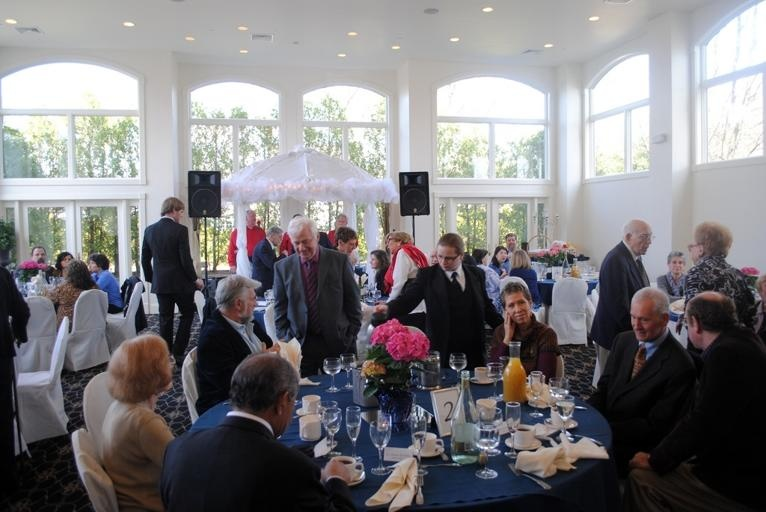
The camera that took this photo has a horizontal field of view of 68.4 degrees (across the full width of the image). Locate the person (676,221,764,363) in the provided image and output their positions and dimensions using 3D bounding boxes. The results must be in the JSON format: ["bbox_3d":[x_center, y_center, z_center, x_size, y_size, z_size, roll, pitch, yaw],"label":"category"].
[{"bbox_3d":[3.031,0.516,5.265,0.540,1.605,0.531,-2,7,-10],"label":"person"}]

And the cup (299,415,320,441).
[{"bbox_3d":[-0.495,1.195,3.919,0.112,0.126,0.161,2,5,18],"label":"cup"}]

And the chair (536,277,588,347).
[{"bbox_3d":[2.792,0.984,8.393,0.716,1.011,0.669,36,-33,-29],"label":"chair"}]

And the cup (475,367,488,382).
[{"bbox_3d":[0.773,0.932,4.441,0.093,0.079,0.099,-3,3,0],"label":"cup"}]

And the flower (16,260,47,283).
[{"bbox_3d":[-4.961,0.221,8.051,0.319,0.321,0.341,6,12,36],"label":"flower"}]

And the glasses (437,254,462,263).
[{"bbox_3d":[0.618,0.033,5.210,0.215,0.093,0.241,0,3,6],"label":"glasses"}]

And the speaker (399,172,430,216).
[{"bbox_3d":[0.652,-1.129,11.138,0.618,0.938,0.636,-4,-18,8],"label":"speaker"}]

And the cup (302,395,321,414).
[{"bbox_3d":[-0.518,1.073,4.081,0.104,0.104,0.143,0,-5,-1],"label":"cup"}]

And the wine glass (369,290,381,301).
[{"bbox_3d":[-0.104,0.556,7.779,0.111,0.150,0.140,-2,-3,-16],"label":"wine glass"}]

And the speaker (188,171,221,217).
[{"bbox_3d":[-3.199,-1.030,10.308,0.612,0.922,0.536,-2,-15,-13],"label":"speaker"}]

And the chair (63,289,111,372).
[{"bbox_3d":[-3.958,0.940,7.383,0.706,1.005,0.717,1,7,-28],"label":"chair"}]

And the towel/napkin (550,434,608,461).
[{"bbox_3d":[1.297,1.266,3.665,0.192,0.067,0.204,1,-3,-7],"label":"towel/napkin"}]

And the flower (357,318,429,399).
[{"bbox_3d":[0.099,0.661,4.086,0.436,0.560,0.522,7,3,17],"label":"flower"}]

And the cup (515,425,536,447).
[{"bbox_3d":[0.933,1.192,3.723,0.134,0.103,0.103,5,-7,-39],"label":"cup"}]

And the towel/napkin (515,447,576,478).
[{"bbox_3d":[1.030,1.301,3.570,0.213,0.082,0.216,-13,-13,42],"label":"towel/napkin"}]

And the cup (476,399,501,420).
[{"bbox_3d":[0.688,1.009,3.704,0.104,0.098,0.122,-1,-7,0],"label":"cup"}]

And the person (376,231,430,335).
[{"bbox_3d":[0.324,0.318,6.982,0.490,1.265,0.559,7,18,31],"label":"person"}]

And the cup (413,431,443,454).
[{"bbox_3d":[0.291,1.238,3.731,0.199,0.151,0.137,-1,-8,2],"label":"cup"}]

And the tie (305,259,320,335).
[{"bbox_3d":[-0.651,0.379,5.235,0.121,0.687,0.123,-1,4,-9],"label":"tie"}]

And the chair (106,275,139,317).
[{"bbox_3d":[-3.823,0.592,8.230,0.545,0.742,0.477,3,-4,-41],"label":"chair"}]

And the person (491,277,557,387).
[{"bbox_3d":[1.247,0.672,5.074,0.351,1.036,0.474,20,-34,-39],"label":"person"}]

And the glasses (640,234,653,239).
[{"bbox_3d":[2.675,-0.196,5.736,0.067,0.054,0.228,2,4,40],"label":"glasses"}]

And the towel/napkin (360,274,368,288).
[{"bbox_3d":[-0.273,0.314,7.929,0.126,0.142,0.248,-3,-9,-1],"label":"towel/napkin"}]

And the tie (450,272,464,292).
[{"bbox_3d":[0.681,0.238,5.175,0.097,0.169,0.038,-13,-2,-4],"label":"tie"}]
